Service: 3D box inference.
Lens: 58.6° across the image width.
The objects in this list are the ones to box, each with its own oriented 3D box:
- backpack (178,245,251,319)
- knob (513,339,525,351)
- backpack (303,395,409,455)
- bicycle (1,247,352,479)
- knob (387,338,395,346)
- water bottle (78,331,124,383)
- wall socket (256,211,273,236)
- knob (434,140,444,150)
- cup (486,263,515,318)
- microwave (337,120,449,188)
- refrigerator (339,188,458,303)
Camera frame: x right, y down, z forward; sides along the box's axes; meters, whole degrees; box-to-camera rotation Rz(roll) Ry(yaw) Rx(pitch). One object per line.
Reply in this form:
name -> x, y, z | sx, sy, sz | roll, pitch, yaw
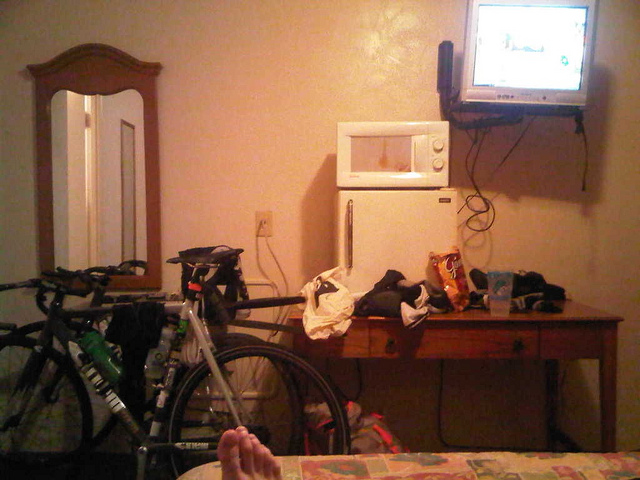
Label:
backpack -> -0.578, 0.228, 3.143 | 0.406, 0.419, 0.282 | -1, -2, 3
knob -> 1.013, 0.535, 2.916 | 0.051, 0.096, 0.054 | 3, -9, 8
backpack -> 0.178, 0.998, 3.058 | 0.384, 0.203, 0.504 | 2, 4, -11
bicycle -> -0.871, 0.687, 3.051 | 1.976, 1.253, 0.507 | -1, 5, 1
knob -> 0.364, 0.521, 2.943 | 0.029, 0.030, 0.029 | 4, 1, 5
water bottle -> -1.102, 0.589, 2.884 | 0.128, 0.243, 0.127 | -42, -6, -5
wall socket -> -0.333, -0.106, 3.419 | 0.139, 0.199, 0.039 | 1, 6, 4
knob -> 0.646, -0.519, 3.105 | 0.044, 0.044, 0.017 | 3, -11, 3
cup -> 0.930, 0.276, 2.960 | 0.125, 0.233, 0.109 | 0, 5, 19
microwave -> 0.392, -0.471, 3.133 | 0.571, 0.378, 0.356 | 0, -2, 2
refrigerator -> 0.403, -0.023, 3.403 | 0.792, 0.815, 0.557 | 0, 1, 0
